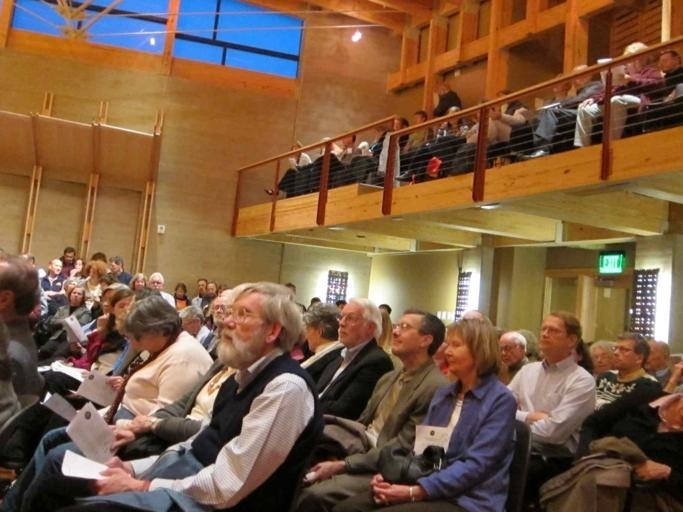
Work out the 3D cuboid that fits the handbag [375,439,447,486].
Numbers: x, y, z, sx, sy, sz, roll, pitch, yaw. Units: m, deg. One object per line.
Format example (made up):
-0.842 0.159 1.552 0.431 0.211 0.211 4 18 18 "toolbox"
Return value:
0.354 1.104 2.879 0.256 0.104 0.222 0 -4 38 "handbag"
